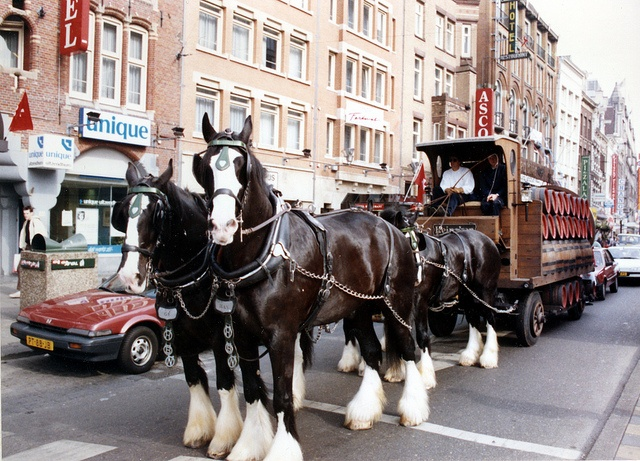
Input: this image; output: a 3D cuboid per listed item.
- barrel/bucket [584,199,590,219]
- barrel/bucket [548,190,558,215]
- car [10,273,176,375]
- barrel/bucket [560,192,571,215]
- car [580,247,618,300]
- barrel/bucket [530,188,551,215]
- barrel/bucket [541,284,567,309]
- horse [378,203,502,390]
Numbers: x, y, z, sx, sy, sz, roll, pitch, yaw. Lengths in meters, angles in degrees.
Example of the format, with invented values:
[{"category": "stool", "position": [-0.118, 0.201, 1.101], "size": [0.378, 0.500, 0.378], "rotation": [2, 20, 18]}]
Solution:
[{"category": "barrel/bucket", "position": [6.822, -0.586, 18.596], "size": [0.176, 0.447, 0.308], "rotation": [1, 0, 0]}, {"category": "barrel/bucket", "position": [5.134, -0.622, 16.058], "size": [0.160, 0.627, 0.506], "rotation": [-2, -4, 25]}, {"category": "car", "position": [-4.084, 1.761, 13.408], "size": [1.635, 1.080, 2.864], "rotation": [-2, -10, 36]}, {"category": "barrel/bucket", "position": [5.674, -0.649, 16.845], "size": [0.142, 0.496, 0.407], "rotation": [-5, -20, 27]}, {"category": "car", "position": [8.354, 1.339, 22.346], "size": [1.360, 1.172, 2.829], "rotation": [-5, -7, 32]}, {"category": "barrel/bucket", "position": [4.797, -0.698, 15.962], "size": [0.416, 0.654, 0.503], "rotation": [-2, 2, 4]}, {"category": "barrel/bucket", "position": [5.221, 1.511, 16.416], "size": [0.625, 0.726, 0.529], "rotation": [-2, 5, 25]}, {"category": "horse", "position": [2.224, 1.264, 14.206], "size": [3.806, 3.307, 1.214], "rotation": [-2, -2, -36]}]
